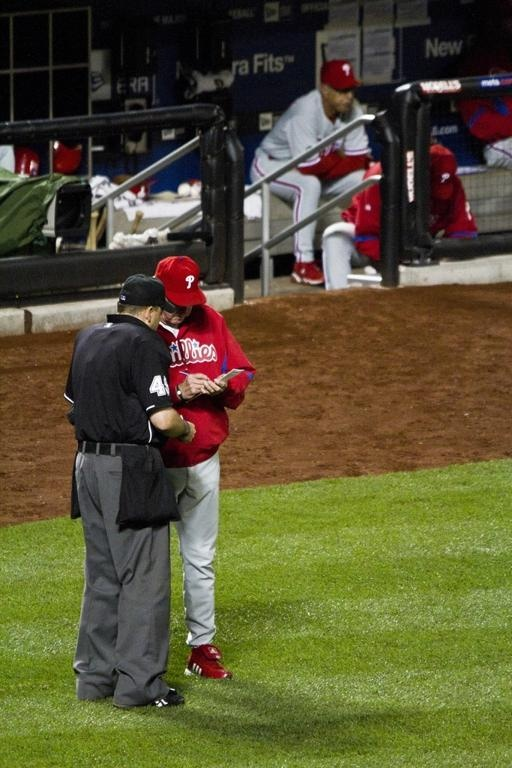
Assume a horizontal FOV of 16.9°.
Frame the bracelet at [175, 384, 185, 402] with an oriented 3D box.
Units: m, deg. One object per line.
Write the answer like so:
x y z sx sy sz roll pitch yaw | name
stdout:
-0.288 0.027 6.362 0.019 0.048 0.041 -16 -20 1 | bracelet

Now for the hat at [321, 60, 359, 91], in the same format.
0.646 -2.428 13.543 0.204 0.169 0.297 -18 38 -26 | hat

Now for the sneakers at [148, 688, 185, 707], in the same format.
-0.316 1.131 6.222 0.145 0.067 0.050 0 -39 -25 | sneakers

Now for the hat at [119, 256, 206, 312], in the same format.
-0.358 -0.374 6.318 0.292 0.159 0.183 0 8 -38 | hat

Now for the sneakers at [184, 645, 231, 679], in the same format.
-0.189 1.047 6.546 0.078 0.108 0.229 -3 1 -40 | sneakers

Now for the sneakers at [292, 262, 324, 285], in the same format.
0.421 -0.899 13.638 0.115 0.149 0.302 -9 10 -29 | sneakers

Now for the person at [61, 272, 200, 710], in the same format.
-0.480 0.469 6.186 0.420 1.382 0.198 2 5 27 | person

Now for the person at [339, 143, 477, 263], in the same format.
1.125 -1.335 12.530 0.979 0.848 0.779 0 5 6 | person

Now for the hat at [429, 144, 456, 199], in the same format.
1.357 -1.569 12.514 0.181 0.411 0.349 0 5 6 | hat
